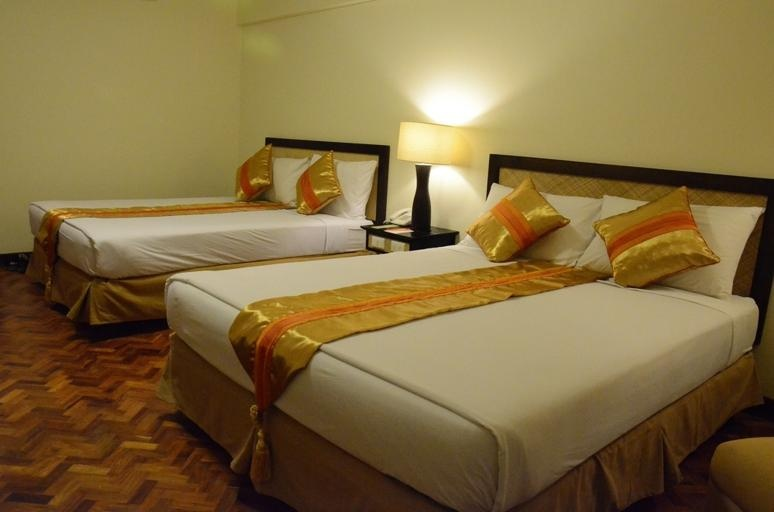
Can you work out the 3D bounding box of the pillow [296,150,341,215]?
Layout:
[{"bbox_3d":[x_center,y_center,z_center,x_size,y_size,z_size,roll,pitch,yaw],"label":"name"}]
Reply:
[{"bbox_3d":[-0.632,-0.701,5.320,0.224,0.776,0.859,14,1,1],"label":"pillow"}]

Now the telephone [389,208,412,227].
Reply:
[{"bbox_3d":[0.136,-0.356,4.731,0.160,0.076,0.205,-8,10,-24],"label":"telephone"}]
